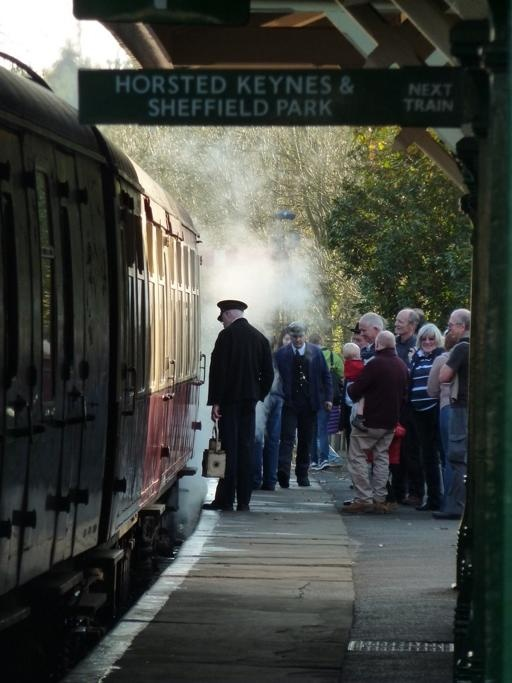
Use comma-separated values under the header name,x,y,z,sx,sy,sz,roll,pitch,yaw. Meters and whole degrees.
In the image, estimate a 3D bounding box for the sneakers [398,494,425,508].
name,x,y,z,sx,sy,sz,roll,pitch,yaw
sneakers,2.144,2.182,9.870,0.331,0.160,0.139,7,-1,4

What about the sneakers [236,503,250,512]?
name,x,y,z,sx,sy,sz,roll,pitch,yaw
sneakers,-0.170,2.121,9.157,0.090,0.146,0.138,2,-11,-4

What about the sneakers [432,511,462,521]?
name,x,y,z,sx,sy,sz,roll,pitch,yaw
sneakers,2.274,2.074,8.547,0.318,0.085,0.189,-2,-6,16

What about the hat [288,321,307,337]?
name,x,y,z,sx,sy,sz,roll,pitch,yaw
hat,0.652,-0.231,11.180,0.179,0.196,0.239,1,-8,-3

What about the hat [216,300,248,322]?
name,x,y,z,sx,sy,sz,roll,pitch,yaw
hat,-0.326,-0.466,9.560,0.306,0.180,0.293,-8,-3,9

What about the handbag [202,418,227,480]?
name,x,y,z,sx,sy,sz,roll,pitch,yaw
handbag,-0.498,1.297,8.737,0.245,0.694,0.321,1,-9,-1
